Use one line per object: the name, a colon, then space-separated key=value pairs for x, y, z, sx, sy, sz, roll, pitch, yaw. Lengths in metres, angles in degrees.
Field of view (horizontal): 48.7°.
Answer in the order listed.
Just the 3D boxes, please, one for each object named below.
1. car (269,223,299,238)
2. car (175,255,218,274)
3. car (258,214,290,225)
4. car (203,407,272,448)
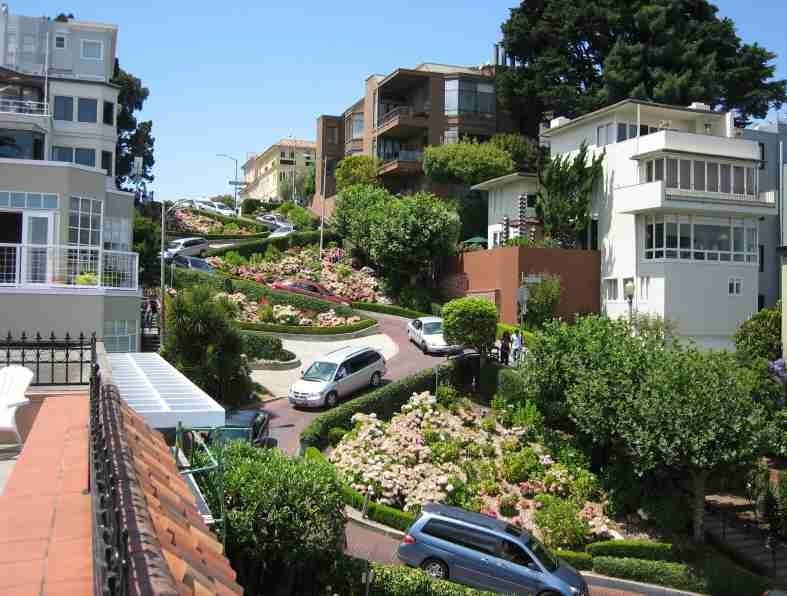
car: x=-10.241 y=-6.070 z=78.189 sx=1.530 sy=1.463 sz=2.730 roll=-3 pitch=-2 yaw=42
car: x=-13.839 y=-2.080 z=60.802 sx=3.206 sy=1.341 sz=1.424 roll=2 pitch=7 yaw=-22
car: x=-12.901 y=-8.226 z=91.467 sx=2.923 sy=1.127 sz=1.459 roll=1 pitch=10 yaw=22
car: x=-5.573 y=4.653 z=31.985 sx=1.370 sy=1.305 sz=3.547 roll=2 pitch=6 yaw=0
